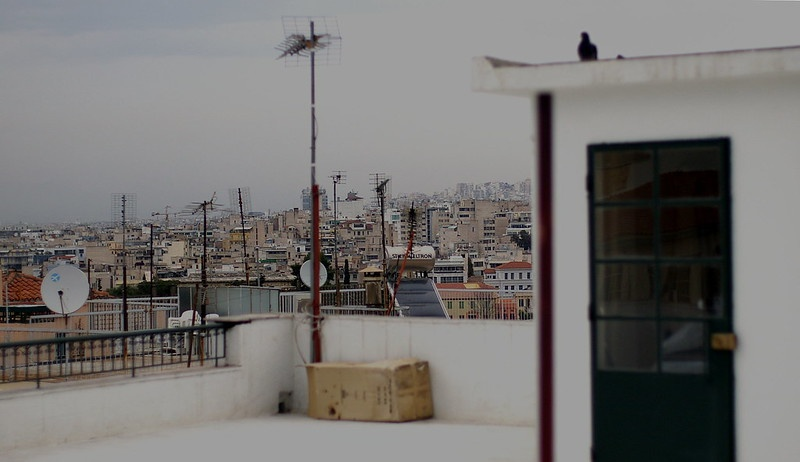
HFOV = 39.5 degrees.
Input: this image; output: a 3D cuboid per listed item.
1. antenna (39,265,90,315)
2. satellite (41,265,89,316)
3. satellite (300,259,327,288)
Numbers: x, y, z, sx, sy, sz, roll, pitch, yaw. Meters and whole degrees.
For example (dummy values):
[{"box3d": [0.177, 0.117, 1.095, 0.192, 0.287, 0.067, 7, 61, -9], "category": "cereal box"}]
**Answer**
[{"box3d": [-5.013, 0.864, 16.651, 0.627, 0.806, 0.279, 1, -1, -17], "category": "antenna"}, {"box3d": [-5.001, 0.851, 16.655, 0.626, 0.806, 0.277, 1, -1, -16], "category": "satellite"}, {"box3d": [-1.408, 0.660, 17.506, 0.527, 0.559, 0.128, 3, -8, -14], "category": "satellite"}]
